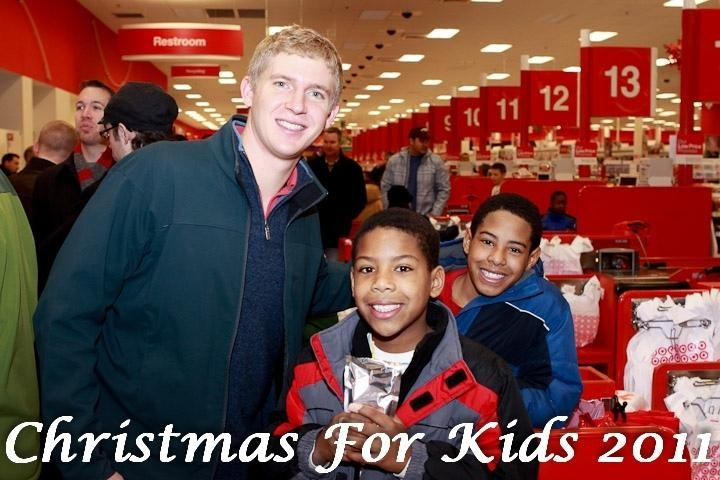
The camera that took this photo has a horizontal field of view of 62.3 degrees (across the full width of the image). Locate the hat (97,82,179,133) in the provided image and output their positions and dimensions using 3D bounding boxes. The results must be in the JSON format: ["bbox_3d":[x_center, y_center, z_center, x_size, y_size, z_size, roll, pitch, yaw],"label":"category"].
[{"bbox_3d":[-1.210,-0.717,3.267,0.378,0.201,0.281,21,19,28],"label":"hat"}]

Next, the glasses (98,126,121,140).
[{"bbox_3d":[-1.410,-0.609,3.361,0.159,0.048,0.161,-6,11,-14],"label":"glasses"}]
